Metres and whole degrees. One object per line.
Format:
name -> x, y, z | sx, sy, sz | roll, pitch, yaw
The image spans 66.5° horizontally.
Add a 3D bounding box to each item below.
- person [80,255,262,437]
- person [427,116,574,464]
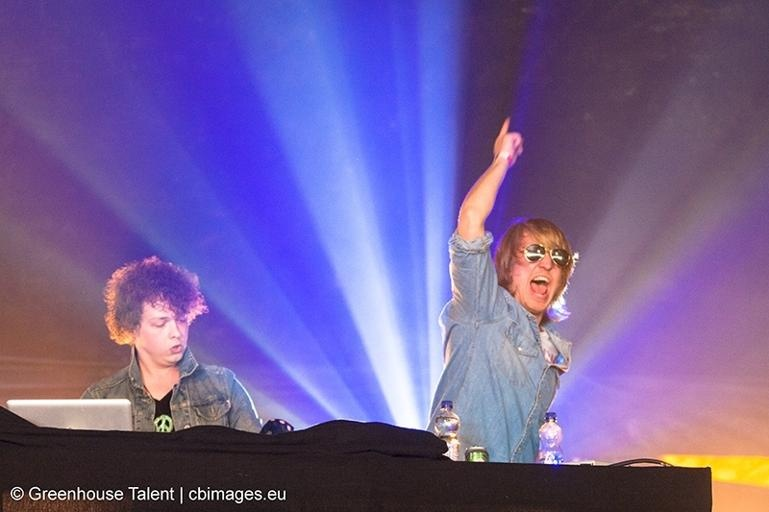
person -> -1.252, 0.592, 3.425 | 1.058, 1.128, 0.530 | -1, -6, -16
person -> 0.590, 0.152, 2.941 | 0.824, 1.648, 0.448 | 6, -4, -44
